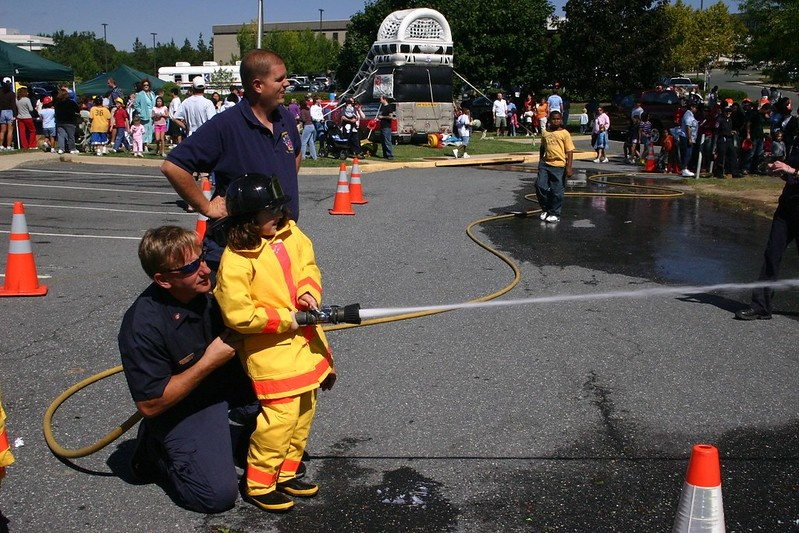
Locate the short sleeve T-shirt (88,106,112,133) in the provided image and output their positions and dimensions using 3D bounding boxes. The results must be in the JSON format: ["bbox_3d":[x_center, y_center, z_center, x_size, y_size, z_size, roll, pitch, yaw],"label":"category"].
[{"bbox_3d":[-8.873,-4.371,20.068,0.434,0.776,0.595,12,19,44],"label":"short sleeve T-shirt"}]

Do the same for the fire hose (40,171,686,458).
[{"bbox_3d":[1.033,0.333,8.582,3.233,0.408,10.583,11,15,41],"label":"fire hose"}]

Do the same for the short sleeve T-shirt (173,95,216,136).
[{"bbox_3d":[-4.354,-3.202,14.543,1.121,0.809,0.393,13,21,17],"label":"short sleeve T-shirt"}]

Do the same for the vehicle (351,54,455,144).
[{"bbox_3d":[0.022,-6.583,27.028,2.866,2.464,5.000,-7,18,-25],"label":"vehicle"}]

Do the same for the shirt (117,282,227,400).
[{"bbox_3d":[-1.440,0.489,4.372,0.357,0.530,0.675,8,31,35],"label":"shirt"}]

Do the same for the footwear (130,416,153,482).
[{"bbox_3d":[-1.757,1.275,4.613,0.095,0.359,0.274,7,0,-36],"label":"footwear"}]

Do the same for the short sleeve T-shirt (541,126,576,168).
[{"bbox_3d":[2.872,-2.195,12.325,0.715,0.633,0.382,11,25,33],"label":"short sleeve T-shirt"}]

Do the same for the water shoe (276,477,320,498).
[{"bbox_3d":[-0.676,1.465,4.518,0.285,0.098,0.111,3,5,4],"label":"water shoe"}]

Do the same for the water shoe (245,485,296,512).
[{"bbox_3d":[-0.821,1.489,4.351,0.262,0.085,0.137,5,5,15],"label":"water shoe"}]

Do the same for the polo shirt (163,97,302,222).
[{"bbox_3d":[-1.126,-0.833,5.288,1.191,0.898,0.573,-21,35,-39],"label":"polo shirt"}]

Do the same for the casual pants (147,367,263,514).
[{"bbox_3d":[-1.356,1.109,4.723,0.644,0.299,0.927,-5,12,46],"label":"casual pants"}]
